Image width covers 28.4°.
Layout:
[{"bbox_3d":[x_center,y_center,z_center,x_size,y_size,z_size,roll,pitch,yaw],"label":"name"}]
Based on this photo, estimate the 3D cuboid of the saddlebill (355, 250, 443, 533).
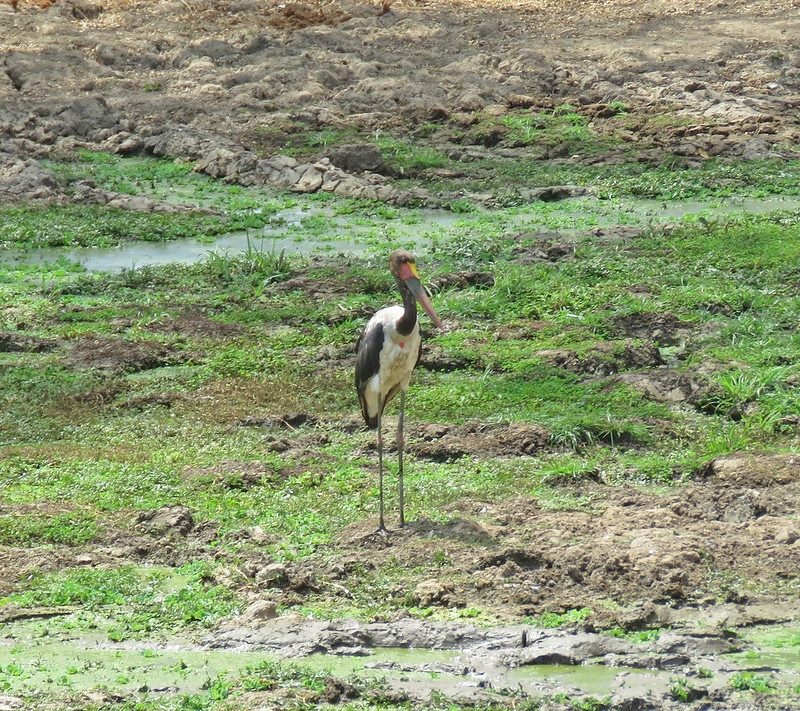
[{"bbox_3d":[0.008,0.419,19.667,1.034,3.422,1.214,-3,8,-3],"label":"saddlebill"}]
